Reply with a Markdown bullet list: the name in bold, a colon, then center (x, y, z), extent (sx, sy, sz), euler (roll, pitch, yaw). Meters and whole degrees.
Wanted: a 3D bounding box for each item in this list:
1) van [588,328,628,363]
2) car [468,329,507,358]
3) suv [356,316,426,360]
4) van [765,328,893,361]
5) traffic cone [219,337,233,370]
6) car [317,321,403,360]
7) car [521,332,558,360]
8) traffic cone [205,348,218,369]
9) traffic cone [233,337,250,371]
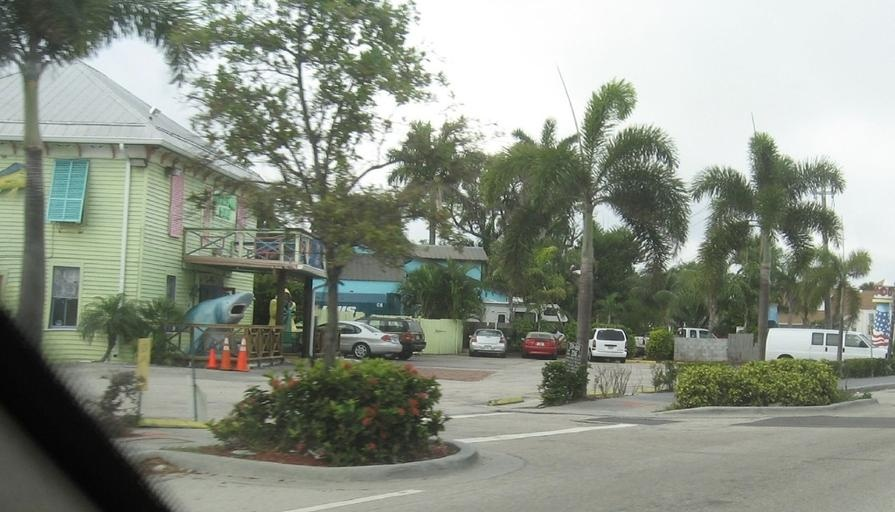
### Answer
- **van**: center (8.264, 4.596, 43.427), extent (1.768, 1.793, 1.879), euler (2, 1, 12)
- **car**: center (2.062, 4.466, 43.006), extent (1.768, 1.417, 1.474), euler (2, 1, 18)
- **suv**: center (-2.901, 3.582, 38.454), extent (3.338, 1.305, 1.530), euler (2, -3, 19)
- **van**: center (16.504, 3.922, 36.956), extent (4.852, 1.351, 2.010), euler (1, 1, -11)
- **traffic cone**: center (-7.397, 3.214, 27.832), extent (0.366, 0.968, 0.825), euler (1, 2, -15)
- **car**: center (-3.461, 3.586, 35.339), extent (4.323, 1.331, 1.859), euler (3, -4, 9)
- **car**: center (4.715, 4.621, 43.124), extent (1.737, 1.294, 1.081), euler (2, 2, 10)
- **traffic cone**: center (-7.801, 3.407, 27.840), extent (0.594, 0.623, 0.584), euler (1, -11, -9)
- **traffic cone**: center (-6.856, 3.249, 27.701), extent (0.393, 0.976, 1.248), euler (1, 1, -14)
